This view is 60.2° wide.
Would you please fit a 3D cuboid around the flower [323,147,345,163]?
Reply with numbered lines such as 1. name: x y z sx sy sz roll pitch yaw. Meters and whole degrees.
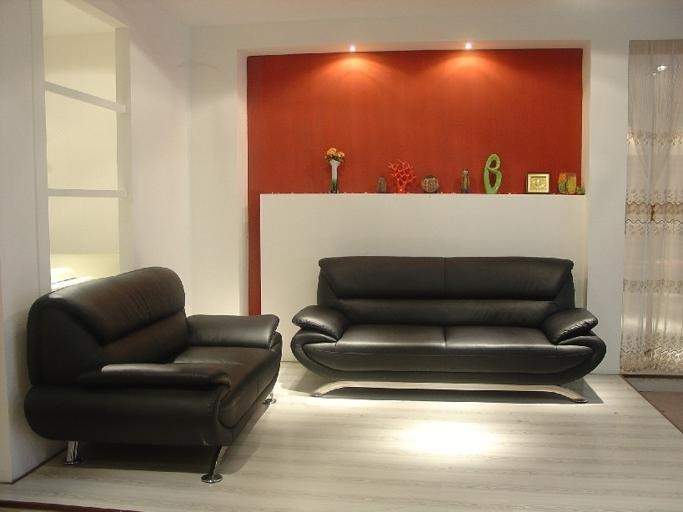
1. flower: -0.065 -1.006 5.874 0.188 0.157 0.148 0 14 0

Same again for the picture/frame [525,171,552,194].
1. picture/frame: 1.912 -0.715 5.702 0.259 0.231 0.027 1 1 5

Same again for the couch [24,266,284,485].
1. couch: -1.297 0.705 4.271 1.443 1.189 1.343 1 14 6

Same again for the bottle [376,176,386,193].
1. bottle: 0.399 -0.713 5.813 0.094 0.145 0.218 0 13 3

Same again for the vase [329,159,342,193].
1. vase: -0.061 -0.802 5.847 0.120 0.323 0.261 -1 14 -1

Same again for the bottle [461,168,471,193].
1. bottle: 1.208 -0.741 5.749 0.106 0.231 0.184 3 14 12
